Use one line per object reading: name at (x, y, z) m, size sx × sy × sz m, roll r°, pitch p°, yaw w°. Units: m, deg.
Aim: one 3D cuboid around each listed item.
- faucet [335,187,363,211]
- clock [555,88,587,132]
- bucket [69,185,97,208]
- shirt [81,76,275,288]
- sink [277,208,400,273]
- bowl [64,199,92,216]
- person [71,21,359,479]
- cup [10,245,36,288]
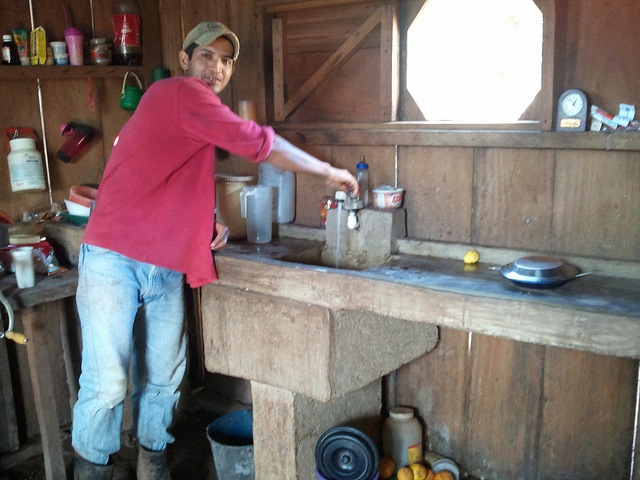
faucet at (0.157, -0.222, 2.948) m, size 0.139 × 0.130 × 0.110 m, roll 2°, pitch 8°, yaw 8°
clock at (1.165, -0.601, 2.562) m, size 0.124 × 0.218 × 0.024 m, roll 5°, pitch 42°, yaw 22°
bucket at (-1.457, -0.281, 3.442) m, size 0.154 × 0.070 × 0.170 m, roll 16°, pitch 3°, yaw 9°
shirt at (-0.606, -0.300, 2.804) m, size 0.889 × 0.983 × 0.956 m, roll 6°, pitch 6°, yaw 29°
sink at (0.193, 0.005, 2.998) m, size 0.425 × 0.272 × 0.417 m, roll 12°, pitch 21°, yaw 36°
bowl at (-1.466, -0.206, 3.373) m, size 0.119 × 0.053 × 0.121 m, roll 21°, pitch 2°, yaw -1°
person at (-0.673, 0.272, 2.645) m, size 0.948 × 2.018 × 0.445 m, roll 3°, pitch 8°, yaw 12°
cup at (-1.578, 0.135, 2.949) m, size 0.105 × 0.194 × 0.194 m, roll -3°, pitch 9°, yaw -29°
